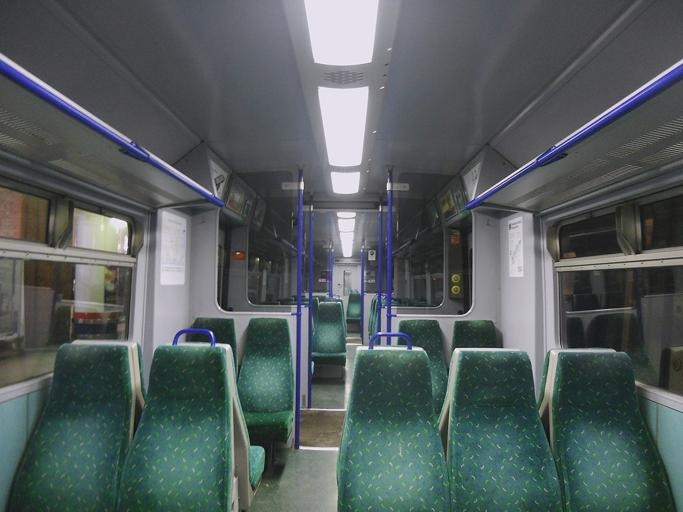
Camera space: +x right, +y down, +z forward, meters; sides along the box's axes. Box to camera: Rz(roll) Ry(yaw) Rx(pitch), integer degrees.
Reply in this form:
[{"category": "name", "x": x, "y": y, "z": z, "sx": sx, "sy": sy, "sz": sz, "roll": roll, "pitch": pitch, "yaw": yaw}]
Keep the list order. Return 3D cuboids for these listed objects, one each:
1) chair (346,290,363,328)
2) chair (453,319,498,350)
[{"category": "chair", "x": 0.492, "y": 1.430, "z": 11.931, "sx": 0.443, "sy": 0.992, "sz": 0.748, "roll": 2, "pitch": -12, "yaw": 2}, {"category": "chair", "x": 1.402, "y": 0.826, "z": 4.692, "sx": 0.345, "sy": 0.418, "sz": 0.387, "roll": 1, "pitch": -12, "yaw": -1}]
